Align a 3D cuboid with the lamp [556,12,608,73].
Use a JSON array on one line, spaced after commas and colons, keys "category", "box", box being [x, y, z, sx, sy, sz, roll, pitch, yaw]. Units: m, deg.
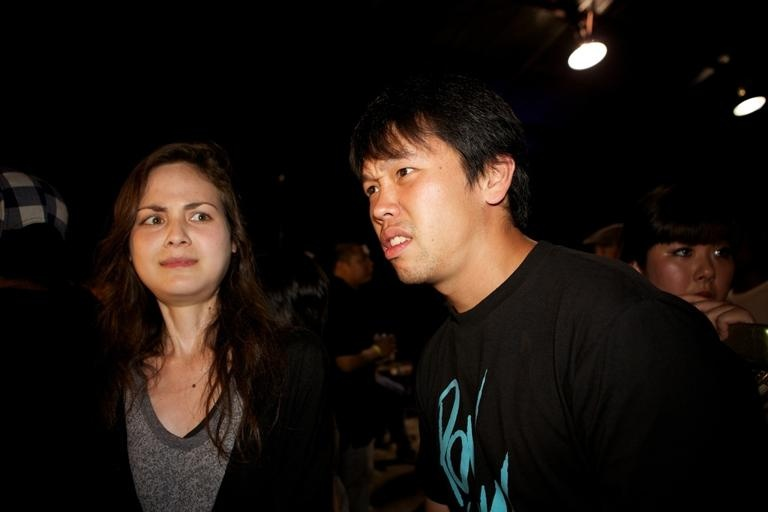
[{"category": "lamp", "box": [2.113, -2.304, 6.454, 0.467, 0.668, 0.213, -16, -15, 31]}]
